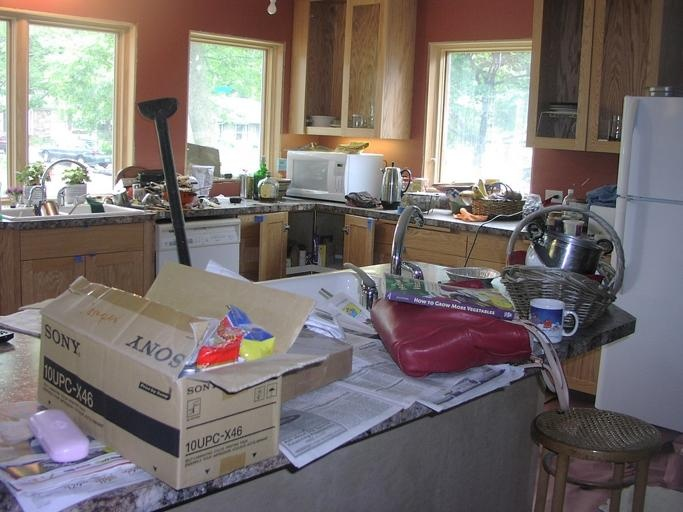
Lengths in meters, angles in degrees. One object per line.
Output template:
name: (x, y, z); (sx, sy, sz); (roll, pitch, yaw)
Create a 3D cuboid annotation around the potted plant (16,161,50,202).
potted plant: (-2.192, -0.515, 3.780); (0.202, 0.266, 0.167); (14, 18, 35)

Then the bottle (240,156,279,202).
bottle: (-0.727, -0.637, 4.682); (0.406, 0.415, 0.293); (-1, 10, -12)

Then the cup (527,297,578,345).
cup: (0.610, 0.191, 1.520); (0.138, 0.109, 0.084); (3, 2, 12)

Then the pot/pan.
pot/pan: (0.799, -0.045, 1.916); (0.249, 0.188, 0.193); (8, 17, -1)

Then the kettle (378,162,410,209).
kettle: (0.480, -0.610, 4.617); (0.270, 0.365, 0.661); (3, 11, 4)

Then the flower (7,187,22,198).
flower: (-2.328, -0.447, 3.784); (0.094, 0.073, 0.095); (9, 11, 41)

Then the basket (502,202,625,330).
basket: (0.707, 0.035, 1.722); (0.364, 0.418, 0.401); (7, 0, 32)

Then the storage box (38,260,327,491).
storage box: (-0.297, 0.187, 0.957); (0.474, 0.258, 0.295); (11, 13, 37)

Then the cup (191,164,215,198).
cup: (-1.142, -0.600, 4.347); (0.154, 0.249, 0.445); (0, 11, -16)

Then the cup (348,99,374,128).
cup: (0.191, -1.311, 5.011); (0.150, 0.277, 0.275); (-2, 8, -23)

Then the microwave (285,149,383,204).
microwave: (-0.115, -0.744, 4.951); (0.700, 0.432, 0.538); (10, 13, 32)
